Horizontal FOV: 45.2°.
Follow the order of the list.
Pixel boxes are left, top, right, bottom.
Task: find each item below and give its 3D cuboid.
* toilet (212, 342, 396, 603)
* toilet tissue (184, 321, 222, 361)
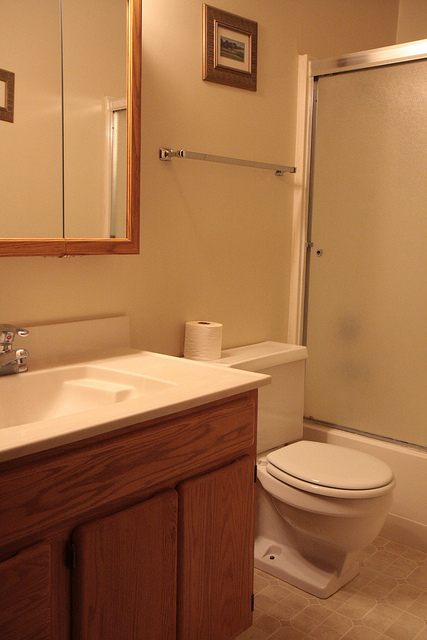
[{"bbox_3d":[0.292,0.476,1.652,0.362,0.668,0.606,-7,9,-42],"label":"toilet"},{"bbox_3d":[-0.030,0.065,1.645,0.116,0.124,0.112,-7,12,-33],"label":"toilet tissue"}]
